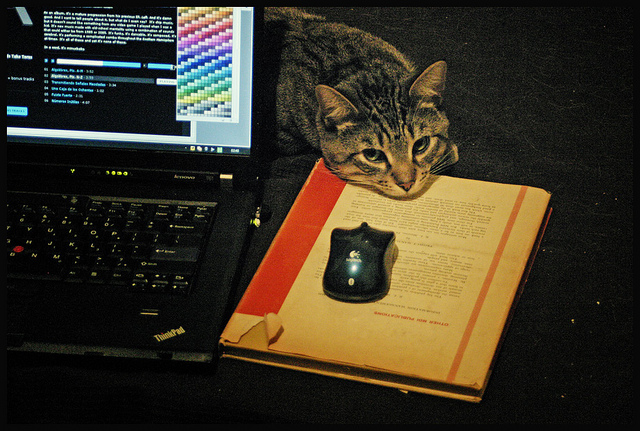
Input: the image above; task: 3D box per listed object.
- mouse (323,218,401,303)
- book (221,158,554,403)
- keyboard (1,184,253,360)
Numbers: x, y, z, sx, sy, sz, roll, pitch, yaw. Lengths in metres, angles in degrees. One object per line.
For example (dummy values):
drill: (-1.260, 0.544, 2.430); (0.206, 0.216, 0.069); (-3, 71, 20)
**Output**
mouse: (0.062, 0.063, 0.833); (0.110, 0.042, 0.137); (-1, 42, 13)
book: (0.091, 0.088, 0.777); (0.368, 0.062, 0.353); (13, 57, 14)
keyboard: (-0.333, 0.070, 0.835); (0.413, 0.082, 0.276); (8, 45, 0)
